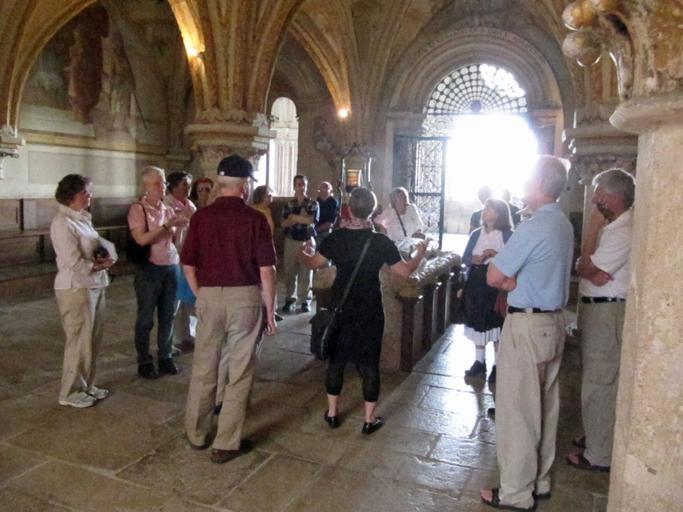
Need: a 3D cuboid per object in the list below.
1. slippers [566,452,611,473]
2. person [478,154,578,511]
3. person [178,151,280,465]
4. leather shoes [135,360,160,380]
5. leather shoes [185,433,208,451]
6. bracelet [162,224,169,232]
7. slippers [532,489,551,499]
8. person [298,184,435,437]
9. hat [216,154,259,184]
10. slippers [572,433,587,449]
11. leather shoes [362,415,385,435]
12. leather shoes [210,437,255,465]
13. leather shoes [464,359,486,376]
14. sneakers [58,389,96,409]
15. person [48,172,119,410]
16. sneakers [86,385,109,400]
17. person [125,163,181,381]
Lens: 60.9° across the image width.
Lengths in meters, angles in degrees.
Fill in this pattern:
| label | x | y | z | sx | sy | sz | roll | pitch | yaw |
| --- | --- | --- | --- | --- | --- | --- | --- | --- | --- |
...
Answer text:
| label | x | y | z | sx | sy | sz | roll | pitch | yaw |
| --- | --- | --- | --- | --- | --- | --- | --- | --- | --- |
| slippers | 1.691 | 1.430 | 3.959 | 0.264 | 0.070 | 0.106 | 8 | 8 | 34 |
| person | 1.137 | 0.477 | 3.556 | 0.487 | 2.140 | 0.591 | 13 | 17 | 41 |
| person | -0.785 | 0.352 | 3.938 | 0.627 | 2.030 | 0.518 | -3 | 13 | -20 |
| leather shoes | -1.733 | 1.020 | 5.184 | 0.218 | 0.203 | 0.103 | 0 | 2 | 19 |
| leather shoes | -1.043 | 1.316 | 4.052 | 0.126 | 0.044 | 0.093 | 1 | 5 | -3 |
| bracelet | -1.488 | -0.235 | 4.786 | 0.071 | 0.065 | 0.018 | -15 | -4 | -6 |
| slippers | 1.262 | 1.511 | 3.662 | 0.117 | 0.044 | 0.046 | -2 | 4 | 18 |
| person | 0.115 | 0.408 | 4.306 | 0.746 | 1.809 | 0.550 | -4 | 14 | -26 |
| hat | -0.724 | -0.604 | 3.979 | 0.160 | 0.187 | 0.276 | 9 | 15 | 31 |
| slippers | 1.745 | 1.372 | 4.267 | 0.059 | 0.053 | 0.152 | -4 | 13 | 12 |
| leather shoes | 0.228 | 1.294 | 4.386 | 0.070 | 0.072 | 0.208 | 4 | 8 | 33 |
| leather shoes | -0.781 | 1.356 | 4.016 | 0.102 | 0.114 | 0.298 | 5 | 10 | 32 |
| leather shoes | 1.255 | 1.076 | 5.478 | 0.232 | 0.133 | 0.107 | -1 | -2 | -9 |
| sneakers | -2.098 | 1.133 | 4.536 | 0.269 | 0.113 | 0.118 | 1 | 4 | -6 |
| person | -2.064 | 0.273 | 4.551 | 0.501 | 1.784 | 0.480 | 1 | 13 | -3 |
| sneakers | -2.000 | 1.113 | 4.670 | 0.145 | 0.055 | 0.083 | 7 | 12 | 20 |
| person | -1.646 | 0.170 | 5.037 | 0.437 | 1.882 | 0.485 | -2 | 13 | -15 |
